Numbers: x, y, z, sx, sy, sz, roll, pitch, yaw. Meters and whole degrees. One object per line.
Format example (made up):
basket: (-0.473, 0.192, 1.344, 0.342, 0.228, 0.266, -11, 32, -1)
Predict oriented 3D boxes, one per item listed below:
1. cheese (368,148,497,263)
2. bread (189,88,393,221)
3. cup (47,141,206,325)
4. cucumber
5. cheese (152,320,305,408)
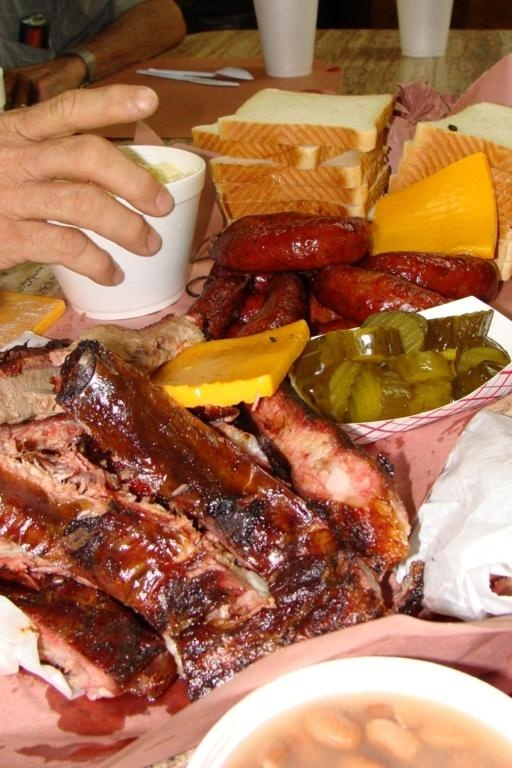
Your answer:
cheese: (0.279, -0.295, 1.026, 0.228, 0.168, 0.178, 5, 23, 18)
bread: (0.121, -0.420, 1.248, 0.327, 0.292, 0.391, -25, 33, -39)
cup: (-0.184, -0.254, 1.110, 0.315, 0.274, 0.264, -17, 28, -18)
cucumber: (0.147, -0.021, 0.665, 0.201, 0.051, 0.124, -15, 45, -16)
cheese: (-0.031, -0.021, 0.610, 0.149, 0.049, 0.132, -2, 40, 13)
